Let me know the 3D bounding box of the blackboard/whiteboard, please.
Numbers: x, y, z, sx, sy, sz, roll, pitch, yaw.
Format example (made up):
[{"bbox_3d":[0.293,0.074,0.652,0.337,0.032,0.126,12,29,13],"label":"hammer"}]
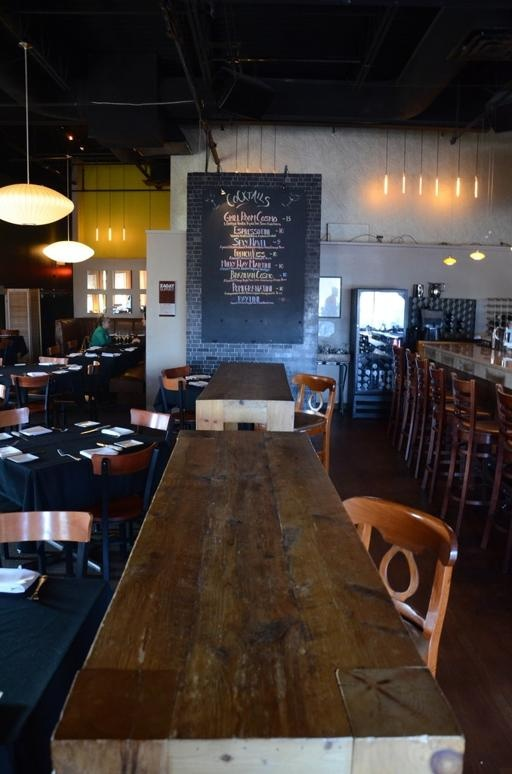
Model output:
[{"bbox_3d":[0.016,-1.589,6.697,1.707,2.600,0.035,0,3,0],"label":"blackboard/whiteboard"}]

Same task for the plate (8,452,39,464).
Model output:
[{"bbox_3d":[-1.343,0.405,3.096,0.206,0.014,0.151,9,10,41],"label":"plate"}]

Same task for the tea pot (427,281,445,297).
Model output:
[{"bbox_3d":[2.919,-1.546,8.658,0.379,0.246,0.204,-4,9,-36],"label":"tea pot"}]
